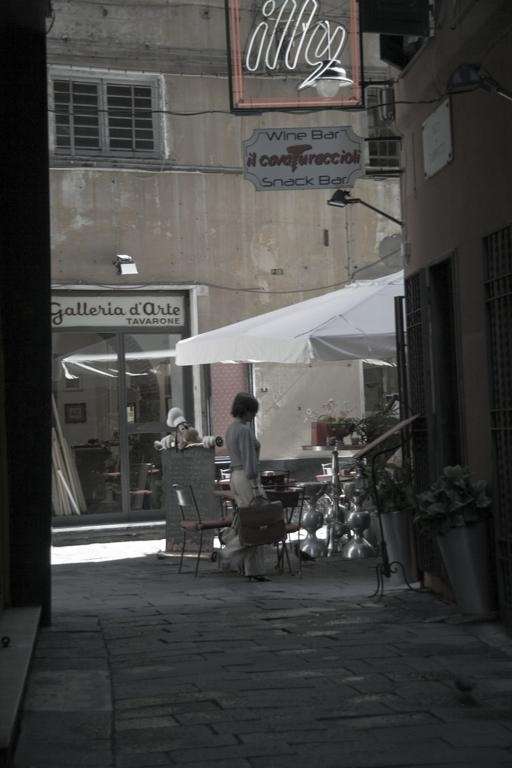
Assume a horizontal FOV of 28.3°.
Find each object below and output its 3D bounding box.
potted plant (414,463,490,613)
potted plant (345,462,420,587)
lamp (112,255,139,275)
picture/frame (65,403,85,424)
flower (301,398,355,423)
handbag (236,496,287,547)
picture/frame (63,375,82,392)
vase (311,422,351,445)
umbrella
[{"bbox_3d":[1.205,0.976,6.195,0.446,0.895,0.273,-3,-4,10],"label":"potted plant"},{"bbox_3d":[1.004,0.991,7.617,0.398,0.790,0.296,-9,-4,23],"label":"potted plant"},{"bbox_3d":[-1.702,-1.514,13.056,0.286,0.372,0.261,-1,-4,-34],"label":"lamp"},{"bbox_3d":[-2.384,0.405,13.219,0.254,0.263,0.023,-1,-3,-10],"label":"picture/frame"},{"bbox_3d":[0.935,0.375,13.731,0.452,0.305,0.657,-1,-3,5],"label":"flower"},{"bbox_3d":[0.019,1.163,8.440,0.432,0.437,0.180,-7,6,-1],"label":"handbag"},{"bbox_3d":[-2.422,0.010,13.234,0.207,0.208,0.108,-3,2,-27],"label":"picture/frame"},{"bbox_3d":[0.728,0.506,9.918,0.384,0.214,0.267,4,4,28],"label":"vase"},{"bbox_3d":[0.550,-0.623,10.152,1.766,0.970,2.696,0,-4,-40],"label":"umbrella"}]
